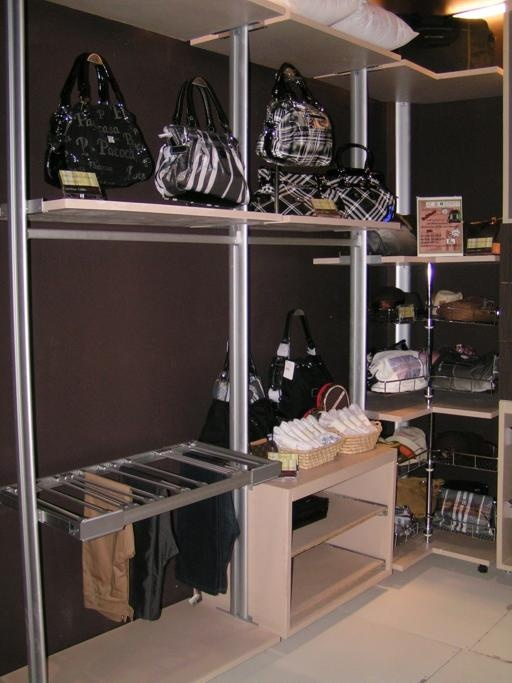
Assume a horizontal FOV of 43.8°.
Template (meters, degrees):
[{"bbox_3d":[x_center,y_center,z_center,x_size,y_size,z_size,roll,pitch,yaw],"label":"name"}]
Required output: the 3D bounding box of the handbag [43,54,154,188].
[{"bbox_3d":[-0.418,-0.546,1.607,0.152,0.328,0.335,6,4,28],"label":"handbag"}]

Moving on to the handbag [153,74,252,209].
[{"bbox_3d":[-0.143,-0.561,1.772,0.235,0.357,0.292,4,4,6],"label":"handbag"}]

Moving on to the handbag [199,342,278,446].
[{"bbox_3d":[-0.076,0.202,2.297,0.222,0.387,0.353,-6,1,31],"label":"handbag"}]
